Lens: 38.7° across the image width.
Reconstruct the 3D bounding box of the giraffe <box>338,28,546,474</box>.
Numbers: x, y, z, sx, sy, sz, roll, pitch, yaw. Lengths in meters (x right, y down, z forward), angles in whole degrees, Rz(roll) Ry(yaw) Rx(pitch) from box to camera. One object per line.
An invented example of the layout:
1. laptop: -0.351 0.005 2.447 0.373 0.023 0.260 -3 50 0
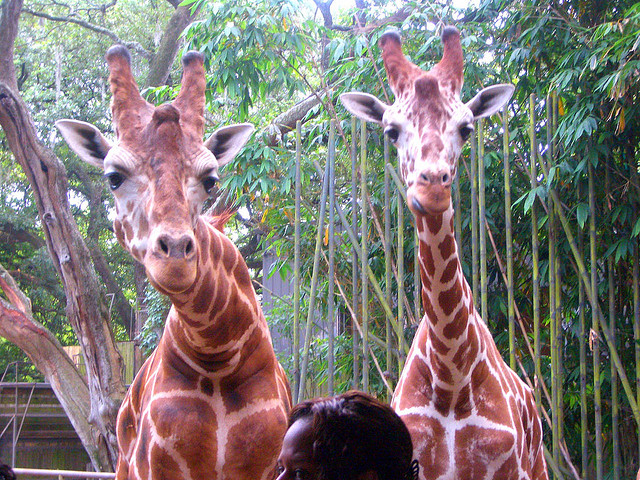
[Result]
1. giraffe: 1.028 0.116 7.071 0.799 3.260 1.281 -6 -11 30
